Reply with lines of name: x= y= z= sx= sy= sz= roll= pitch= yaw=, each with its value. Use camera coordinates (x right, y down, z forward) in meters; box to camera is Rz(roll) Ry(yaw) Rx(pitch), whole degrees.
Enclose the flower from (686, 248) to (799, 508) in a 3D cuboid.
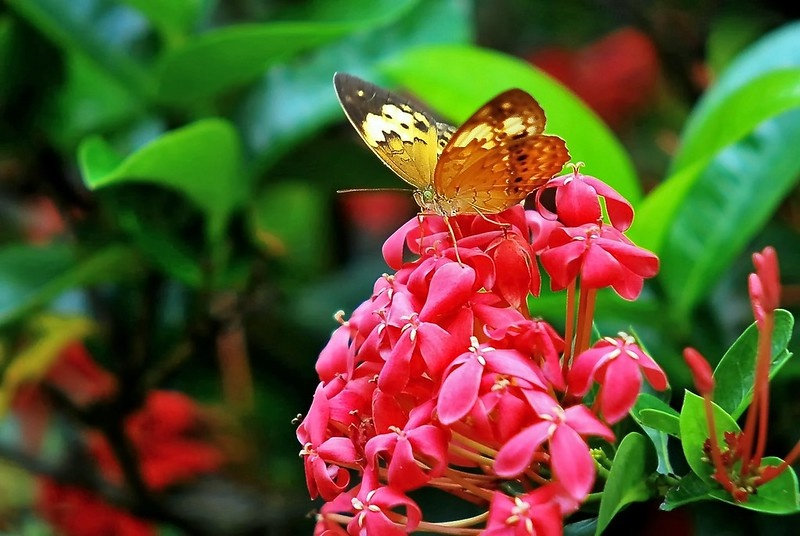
flower: x=0.658 y=0.198 z=1.722 sx=0.167 sy=0.485 sz=0.322 roll=-8 pitch=20 yaw=24
